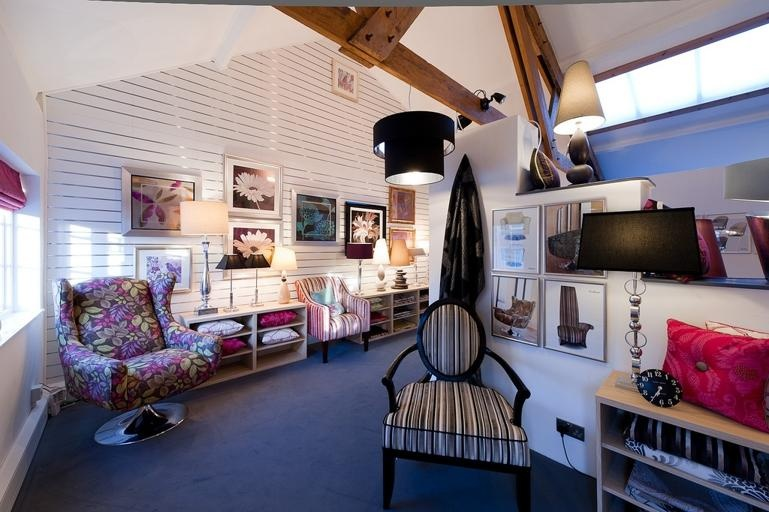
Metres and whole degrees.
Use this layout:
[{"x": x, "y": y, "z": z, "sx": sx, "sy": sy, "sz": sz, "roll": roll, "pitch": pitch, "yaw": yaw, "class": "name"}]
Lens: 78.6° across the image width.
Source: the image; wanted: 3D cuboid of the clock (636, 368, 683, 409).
[{"x": 2.192, "y": 1.058, "z": 3.733, "sx": 0.312, "sy": 0.308, "sz": 0.045, "roll": -1, "pitch": -9, "yaw": 36, "class": "clock"}]

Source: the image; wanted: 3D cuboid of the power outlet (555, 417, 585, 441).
[{"x": 1.686, "y": 1.559, "z": 4.247, "sx": 0.246, "sy": 0.171, "sz": 0.033, "roll": 1, "pitch": 5, "yaw": 41, "class": "power outlet"}]

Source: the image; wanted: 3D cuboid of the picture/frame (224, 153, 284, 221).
[{"x": -1.682, "y": -0.871, "z": 5.898, "sx": 0.986, "sy": 0.962, "sz": 0.067, "roll": 0, "pitch": 2, "yaw": -41, "class": "picture/frame"}]

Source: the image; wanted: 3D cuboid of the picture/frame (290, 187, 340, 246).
[{"x": -0.998, "y": -0.554, "z": 6.472, "sx": 0.857, "sy": 0.838, "sz": 0.063, "roll": -1, "pitch": 2, "yaw": -38, "class": "picture/frame"}]

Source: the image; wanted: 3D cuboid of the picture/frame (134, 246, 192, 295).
[{"x": -2.506, "y": 0.150, "z": 5.239, "sx": 0.587, "sy": 0.561, "sz": 0.057, "roll": 0, "pitch": 1, "yaw": -39, "class": "picture/frame"}]

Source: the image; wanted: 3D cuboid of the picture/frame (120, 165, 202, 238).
[{"x": -2.548, "y": -0.598, "z": 5.260, "sx": 0.869, "sy": 0.832, "sz": 0.063, "roll": -1, "pitch": 1, "yaw": -41, "class": "picture/frame"}]

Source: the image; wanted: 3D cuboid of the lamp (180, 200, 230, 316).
[{"x": -2.048, "y": 0.008, "z": 5.353, "sx": 0.518, "sy": 1.222, "sz": 0.455, "roll": -1, "pitch": -1, "yaw": -23, "class": "lamp"}]

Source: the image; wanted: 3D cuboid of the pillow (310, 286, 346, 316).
[{"x": -0.745, "y": 0.597, "z": 6.258, "sx": 0.117, "sy": 0.356, "sz": 0.396, "roll": -29, "pitch": -26, "yaw": 32, "class": "pillow"}]

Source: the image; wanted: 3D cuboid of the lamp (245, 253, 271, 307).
[{"x": -1.583, "y": 0.295, "z": 5.724, "sx": 0.392, "sy": 0.615, "sz": 0.384, "roll": -3, "pitch": 0, "yaw": 9, "class": "lamp"}]

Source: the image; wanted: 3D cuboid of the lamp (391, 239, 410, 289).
[{"x": 0.258, "y": 0.103, "z": 7.284, "sx": 0.302, "sy": 0.766, "sz": 0.662, "roll": -3, "pitch": 2, "yaw": 4, "class": "lamp"}]

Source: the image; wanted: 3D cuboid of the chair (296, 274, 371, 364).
[{"x": -0.733, "y": 0.788, "z": 6.255, "sx": 0.784, "sy": 1.054, "sz": 0.764, "roll": -5, "pitch": 3, "yaw": -41, "class": "chair"}]

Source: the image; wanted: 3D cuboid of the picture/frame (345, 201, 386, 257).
[{"x": -0.314, "y": -0.396, "z": 6.942, "sx": 0.061, "sy": 0.861, "sz": 0.889, "roll": -1, "pitch": -2, "yaw": 42, "class": "picture/frame"}]

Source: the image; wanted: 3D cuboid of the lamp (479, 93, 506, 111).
[{"x": 1.302, "y": -1.853, "z": 5.634, "sx": 0.261, "sy": 0.207, "sz": 0.367, "roll": -2, "pitch": 2, "yaw": 23, "class": "lamp"}]

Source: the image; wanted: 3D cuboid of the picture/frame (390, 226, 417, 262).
[{"x": 0.276, "y": -0.199, "z": 7.417, "sx": 0.040, "sy": 0.478, "sz": 0.572, "roll": 2, "pitch": 1, "yaw": -44, "class": "picture/frame"}]

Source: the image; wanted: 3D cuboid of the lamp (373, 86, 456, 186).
[{"x": 0.251, "y": -1.022, "z": 4.096, "sx": 0.664, "sy": 0.409, "sz": 0.688, "roll": -1, "pitch": -2, "yaw": 2, "class": "lamp"}]

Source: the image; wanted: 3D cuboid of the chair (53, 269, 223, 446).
[{"x": -2.421, "y": 1.066, "z": 5.210, "sx": 1.692, "sy": 1.962, "sz": 1.528, "roll": -9, "pitch": -8, "yaw": 40, "class": "chair"}]
